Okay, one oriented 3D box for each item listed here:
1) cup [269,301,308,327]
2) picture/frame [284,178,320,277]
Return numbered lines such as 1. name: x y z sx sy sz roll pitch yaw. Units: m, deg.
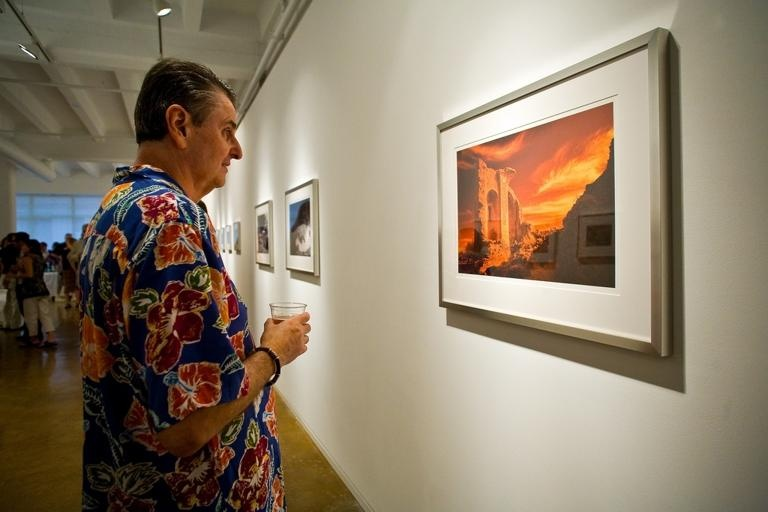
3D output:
1. cup: -0.418 0.245 2.319 0.110 0.091 0.107 1 -2 0
2. picture/frame: -0.679 -0.246 4.470 0.060 0.733 0.847 0 1 -24
